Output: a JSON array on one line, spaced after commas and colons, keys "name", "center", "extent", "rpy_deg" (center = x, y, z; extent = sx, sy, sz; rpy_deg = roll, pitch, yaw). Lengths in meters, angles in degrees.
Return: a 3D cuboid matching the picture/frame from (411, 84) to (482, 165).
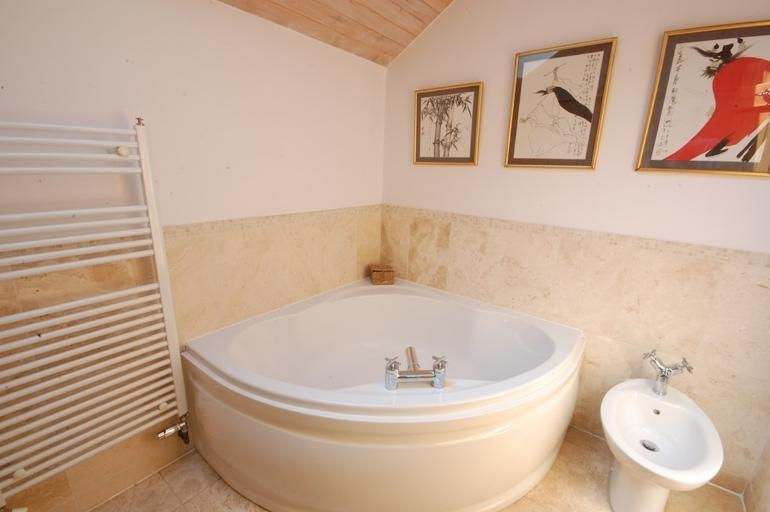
[{"name": "picture/frame", "center": [0.431, -0.896, 3.154], "extent": [0.517, 0.516, 0.038], "rpy_deg": [13, 23, 38]}]
